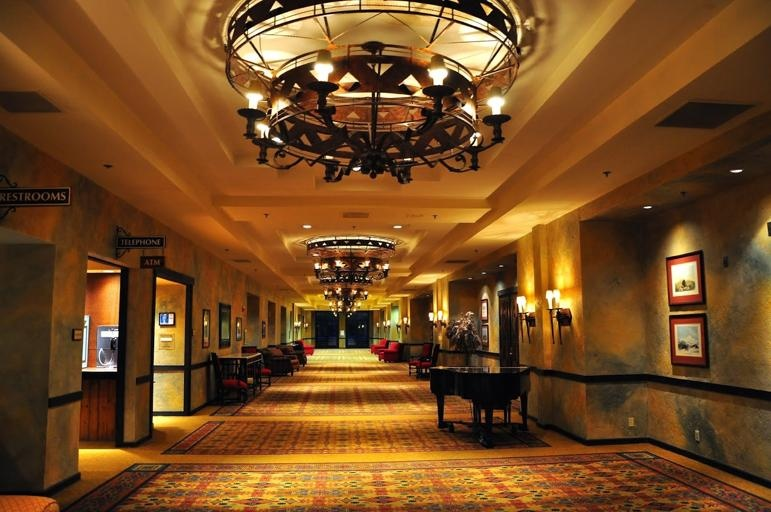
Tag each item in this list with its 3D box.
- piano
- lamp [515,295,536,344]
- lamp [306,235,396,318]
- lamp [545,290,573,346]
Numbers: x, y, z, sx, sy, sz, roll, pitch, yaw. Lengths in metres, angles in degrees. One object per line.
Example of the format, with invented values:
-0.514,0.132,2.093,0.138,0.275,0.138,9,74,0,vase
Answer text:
1.842,2.691,9.442,1.563,1.091,1.787,3,-15,-17,piano
3.182,1.448,11.202,0.319,1.074,1.021,-1,-4,11,lamp
-1.316,0.418,15.308,2.797,1.768,2.681,-1,-8,11,lamp
3.419,1.221,9.846,0.337,1.082,0.773,-1,-3,3,lamp
